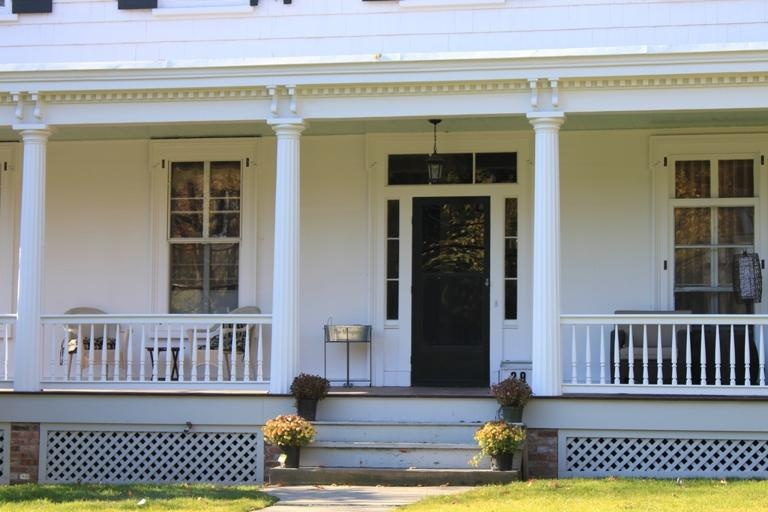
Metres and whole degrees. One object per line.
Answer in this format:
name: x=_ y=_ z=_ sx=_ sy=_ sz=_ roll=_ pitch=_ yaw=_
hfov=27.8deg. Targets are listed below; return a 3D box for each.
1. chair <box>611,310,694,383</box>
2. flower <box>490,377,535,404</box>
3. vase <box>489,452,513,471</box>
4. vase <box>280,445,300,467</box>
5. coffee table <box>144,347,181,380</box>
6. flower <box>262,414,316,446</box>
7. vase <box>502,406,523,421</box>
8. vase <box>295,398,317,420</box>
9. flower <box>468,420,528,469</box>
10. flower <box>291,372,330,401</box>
chair: x=3.699 y=1.242 z=21.477 sx=1.173 sy=0.946 sz=0.614 roll=0 pitch=-8 yaw=9
flower: x=1.673 y=1.764 z=20.452 sx=0.447 sy=0.270 sz=0.398 roll=0 pitch=3 yaw=-18
vase: x=1.540 y=2.655 z=20.150 sx=0.269 sy=0.169 sz=0.261 roll=0 pitch=-5 yaw=-3
vase: x=-1.238 y=2.625 z=20.415 sx=0.291 sy=0.198 sz=0.285 roll=1 pitch=-5 yaw=-3
coffee table: x=-3.281 y=1.516 z=22.681 sx=0.665 sy=0.517 sz=0.598 roll=0 pitch=-5 yaw=-2
flower: x=-1.265 y=2.278 z=20.321 sx=0.514 sy=0.271 sz=0.518 roll=1 pitch=-1 yaw=40
vase: x=1.683 y=2.056 z=20.443 sx=0.239 sy=0.142 sz=0.215 roll=0 pitch=0 yaw=-7
vase: x=-1.043 y=2.009 z=20.783 sx=0.385 sy=0.248 sz=0.263 roll=1 pitch=-3 yaw=-9
flower: x=1.522 y=2.447 z=20.179 sx=0.670 sy=0.640 sz=0.415 roll=0 pitch=-7 yaw=-5
flower: x=-1.021 y=1.725 z=20.857 sx=0.417 sy=0.252 sz=0.404 roll=-4 pitch=5 yaw=-14
